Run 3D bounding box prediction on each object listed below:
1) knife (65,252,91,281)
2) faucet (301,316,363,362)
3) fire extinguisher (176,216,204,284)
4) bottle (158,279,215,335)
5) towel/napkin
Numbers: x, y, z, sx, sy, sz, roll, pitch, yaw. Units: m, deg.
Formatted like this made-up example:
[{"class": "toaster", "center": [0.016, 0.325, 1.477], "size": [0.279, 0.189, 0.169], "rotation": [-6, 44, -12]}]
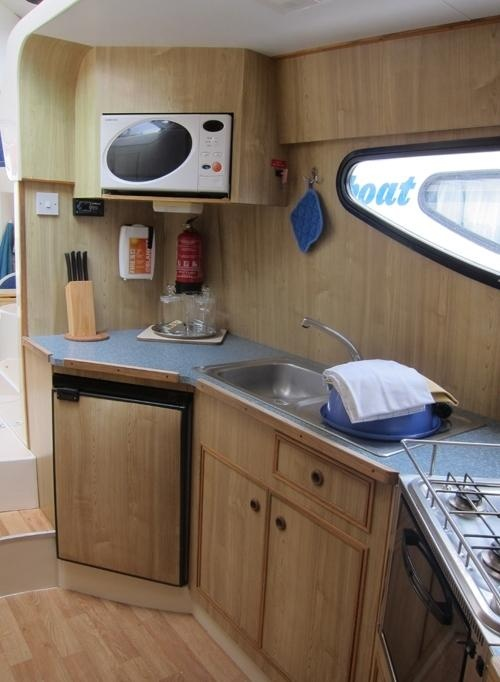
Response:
[{"class": "knife", "center": [-0.717, -0.313, 2.217], "size": [0.094, 0.193, 0.025], "rotation": [-9, 26, -28]}, {"class": "faucet", "center": [0.242, -0.013, 1.646], "size": [0.166, 0.108, 0.253], "rotation": [3, 8, 0]}, {"class": "fire extinguisher", "center": [-0.255, -0.365, 2.288], "size": [0.107, 0.309, 0.073], "rotation": [-1, 8, -22]}, {"class": "bottle", "center": [-0.260, -0.118, 2.299], "size": [0.216, 0.173, 0.232], "rotation": [2, 23, -1]}, {"class": "towel/napkin", "center": [0.294, 0.116, 1.253], "size": [0.212, 0.108, 0.168], "rotation": [0, 9, -22]}]
